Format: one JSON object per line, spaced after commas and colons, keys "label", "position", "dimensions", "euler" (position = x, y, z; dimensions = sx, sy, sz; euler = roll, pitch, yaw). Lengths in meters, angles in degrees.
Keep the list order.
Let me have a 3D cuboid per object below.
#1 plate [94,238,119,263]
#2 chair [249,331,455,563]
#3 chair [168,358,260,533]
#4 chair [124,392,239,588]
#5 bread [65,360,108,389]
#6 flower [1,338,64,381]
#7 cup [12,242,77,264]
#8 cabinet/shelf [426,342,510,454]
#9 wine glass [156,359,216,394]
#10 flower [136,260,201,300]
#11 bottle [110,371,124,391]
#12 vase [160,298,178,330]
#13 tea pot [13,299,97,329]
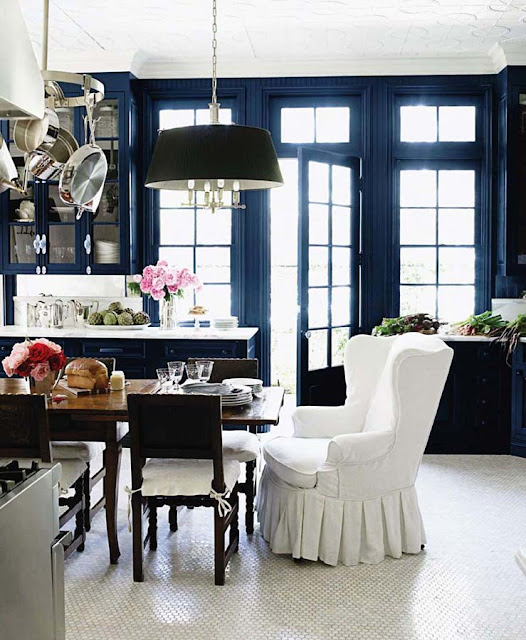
{"label": "plate", "position": [-1.266, -0.558, 4.762], "dimensions": [0.183, 0.196, 0.167], "euler": [2, 3, 25]}
{"label": "chair", "position": [0.334, 0.538, 3.112], "dimensions": [0.965, 1.194, 0.936], "euler": [0, 3, -3]}
{"label": "chair", "position": [-0.222, 0.678, 3.149], "dimensions": [0.483, 0.924, 0.565], "euler": [8, -13, -12]}
{"label": "chair", "position": [-0.327, 0.659, 2.478], "dimensions": [0.401, 0.766, 0.457], "euler": [0, -1, 1]}
{"label": "bread", "position": [-0.870, 0.249, 2.921], "dimensions": [0.151, 0.102, 0.159], "euler": [2, 2, 20]}
{"label": "flower", "position": [-1.069, 0.186, 2.738], "dimensions": [0.258, 0.185, 0.120], "euler": [-1, 3, -23]}
{"label": "cup", "position": [-1.830, -0.540, 4.900], "dimensions": [0.361, 0.209, 0.114], "euler": [-1, 5, 2]}
{"label": "cabinet/shelf", "position": [1.653, 0.504, 4.636], "dimensions": [0.656, 0.985, 0.490], "euler": [5, 18, 38]}
{"label": "wine glass", "position": [-0.370, 0.262, 2.776], "dimensions": [0.203, 0.092, 0.157], "euler": [-4, 1, -15]}
{"label": "flower", "position": [-0.777, -0.305, 4.656], "dimensions": [0.597, 0.299, 0.450], "euler": [1, 3, 3]}
{"label": "bottle", "position": [-0.721, 0.307, 2.947], "dimensions": [0.063, 0.091, 0.089], "euler": [1, -2, -5]}
{"label": "vase", "position": [-0.770, -0.053, 4.786], "dimensions": [0.121, 0.246, 0.226], "euler": [0, 3, -8]}
{"label": "tea pot", "position": [-1.850, -0.069, 5.054], "dimensions": [0.777, 0.263, 0.364], "euler": [1, 3, 18]}
